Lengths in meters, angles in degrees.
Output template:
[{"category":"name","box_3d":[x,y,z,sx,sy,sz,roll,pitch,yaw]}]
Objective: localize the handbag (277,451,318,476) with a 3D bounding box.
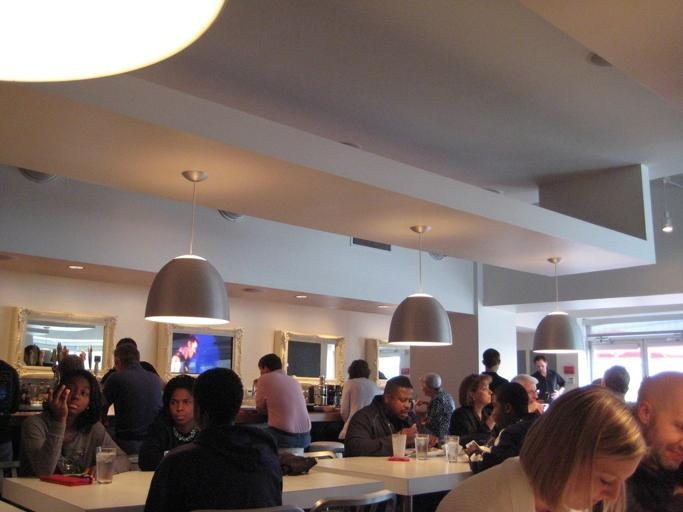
[{"category":"handbag","box_3d":[-0.233,1.105,2.843,0.184,0.092,0.127,4,1,-23]}]

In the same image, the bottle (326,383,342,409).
[{"category":"bottle","box_3d":[-0.105,1.772,6.606,0.160,0.225,0.194,-1,-7,12]}]

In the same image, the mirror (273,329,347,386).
[{"category":"mirror","box_3d":[-0.494,1.497,7.734,1.024,0.658,0.120,10,-15,-41]}]
